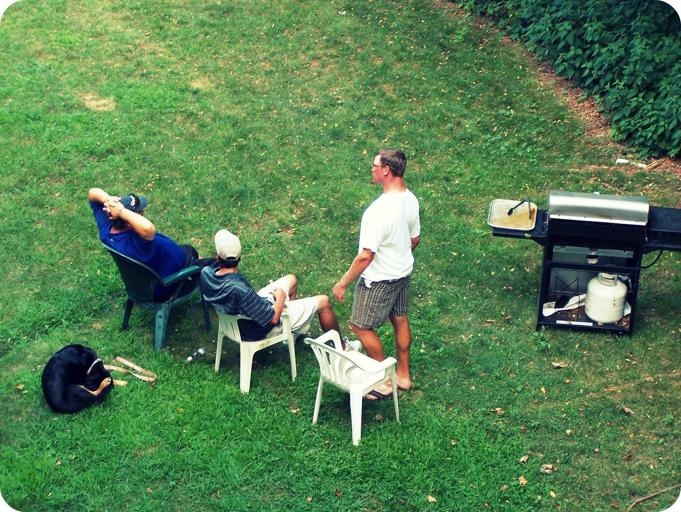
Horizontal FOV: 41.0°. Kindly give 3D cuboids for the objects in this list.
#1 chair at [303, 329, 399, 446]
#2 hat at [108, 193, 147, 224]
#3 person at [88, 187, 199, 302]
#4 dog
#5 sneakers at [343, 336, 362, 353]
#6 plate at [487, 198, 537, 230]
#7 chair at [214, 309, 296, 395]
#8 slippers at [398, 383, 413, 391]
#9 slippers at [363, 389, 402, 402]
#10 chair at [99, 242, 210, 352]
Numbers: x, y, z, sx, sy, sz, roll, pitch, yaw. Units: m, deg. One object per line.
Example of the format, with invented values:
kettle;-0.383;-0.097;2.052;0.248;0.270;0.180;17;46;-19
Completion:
chair;0.130;1.715;11.626;0.827;1.091;0.772;24;37;39
hat;-2.832;-0.700;12.384;0.439;0.254;0.283;-19;65;-37
person;-2.817;-0.117;12.901;0.720;1.328;1.108;24;45;20
dog;-3.363;1.537;11.639;0.887;0.728;0.497;-4;18;-20
sneakers;0.172;1.172;12.323;0.143;0.254;0.244;-14;-8;37
plate;2.501;-0.640;13.173;0.670;0.301;0.842;6;19;10
chair;-1.124;1.063;12.163;0.981;0.982;1.155;-11;21;-33
slippers;0.856;1.716;12.108;0.142;0.071;0.082;-3;9;-1
slippers;0.521;1.779;11.768;0.443;0.144;0.177;-1;9;-12
chair;-2.529;0.591;12.558;0.741;1.115;0.849;24;45;23
